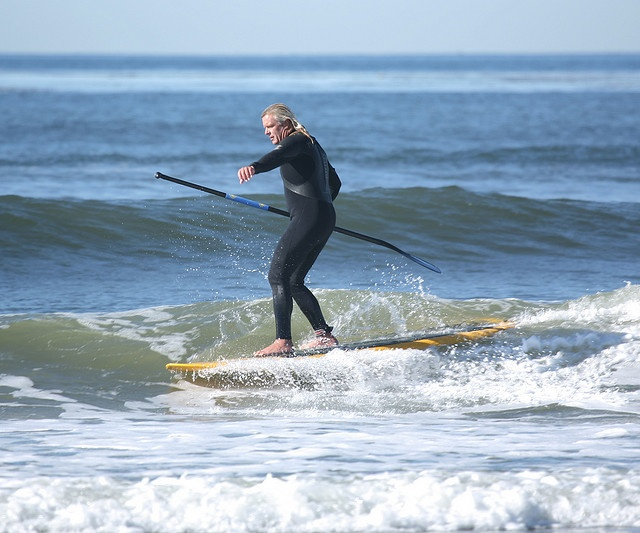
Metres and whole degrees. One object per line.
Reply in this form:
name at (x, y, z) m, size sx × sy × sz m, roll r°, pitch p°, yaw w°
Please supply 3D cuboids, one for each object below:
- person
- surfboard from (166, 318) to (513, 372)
person at (-0.442, -0.416, 14.546) m, size 1.205 × 3.044 × 0.570 m, roll -2°, pitch 8°, yaw -35°
surfboard at (0.233, 1.010, 15.255) m, size 3.836 × 0.142 × 0.456 m, roll -5°, pitch -5°, yaw -16°
